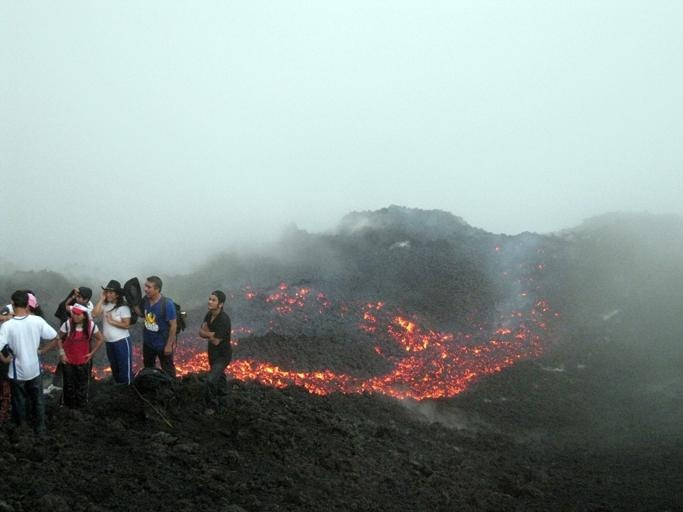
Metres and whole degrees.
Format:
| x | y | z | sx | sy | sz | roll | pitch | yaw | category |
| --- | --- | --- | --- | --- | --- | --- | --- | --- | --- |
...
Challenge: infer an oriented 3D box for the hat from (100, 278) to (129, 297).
| x | y | z | sx | sy | sz | roll | pitch | yaw | category |
| --- | --- | --- | --- | --- | --- | --- | --- | --- | --- |
| -5.709 | 0.778 | 14.808 | 0.523 | 0.306 | 0.920 | 7 | 9 | -26 | hat |

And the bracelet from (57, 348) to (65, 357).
| x | y | z | sx | sy | sz | roll | pitch | yaw | category |
| --- | --- | --- | --- | --- | --- | --- | --- | --- | --- |
| -6.648 | 2.328 | 13.911 | 0.148 | 0.116 | 0.150 | 2 | -4 | -9 | bracelet |

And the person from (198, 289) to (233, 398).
| x | y | z | sx | sy | sz | roll | pitch | yaw | category |
| --- | --- | --- | --- | --- | --- | --- | --- | --- | --- |
| -3.207 | 2.259 | 14.867 | 0.793 | 2.717 | 0.587 | 11 | 7 | 4 | person |

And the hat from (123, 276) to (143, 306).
| x | y | z | sx | sy | sz | roll | pitch | yaw | category |
| --- | --- | --- | --- | --- | --- | --- | --- | --- | --- |
| -5.344 | 0.896 | 14.836 | 0.175 | 0.697 | 0.492 | 1 | 19 | 28 | hat |

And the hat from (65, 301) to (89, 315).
| x | y | z | sx | sy | sz | roll | pitch | yaw | category |
| --- | --- | --- | --- | --- | --- | --- | --- | --- | --- |
| -6.253 | 1.267 | 13.986 | 0.258 | 0.128 | 0.371 | 5 | -14 | 11 | hat |
